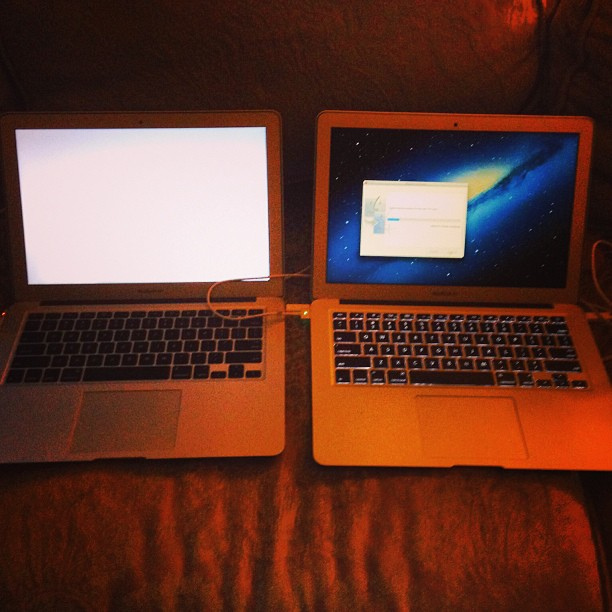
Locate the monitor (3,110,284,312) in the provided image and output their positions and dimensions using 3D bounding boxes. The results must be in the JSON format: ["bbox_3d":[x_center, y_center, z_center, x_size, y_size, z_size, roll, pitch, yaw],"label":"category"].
[{"bbox_3d":[-0.258,-0.156,0.844,0.313,0.217,0.004,-1,10,-3],"label":"monitor"}]
